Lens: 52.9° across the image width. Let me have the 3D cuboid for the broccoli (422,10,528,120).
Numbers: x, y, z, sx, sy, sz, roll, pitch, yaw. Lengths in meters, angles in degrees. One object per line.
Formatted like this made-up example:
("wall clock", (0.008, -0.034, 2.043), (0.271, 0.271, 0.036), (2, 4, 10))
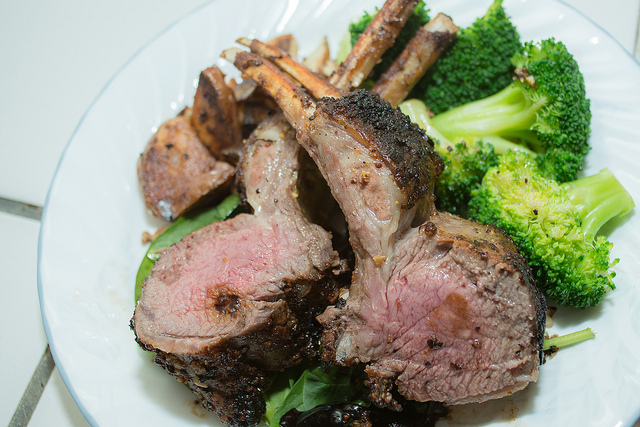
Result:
("broccoli", (1.224, -1.183, 5.099), (0.493, 0.790, 0.745), (-24, 31, -32))

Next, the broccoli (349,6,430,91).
("broccoli", (0.592, -1.361, 5.374), (0.618, 0.696, 0.188), (41, 7, 21))
